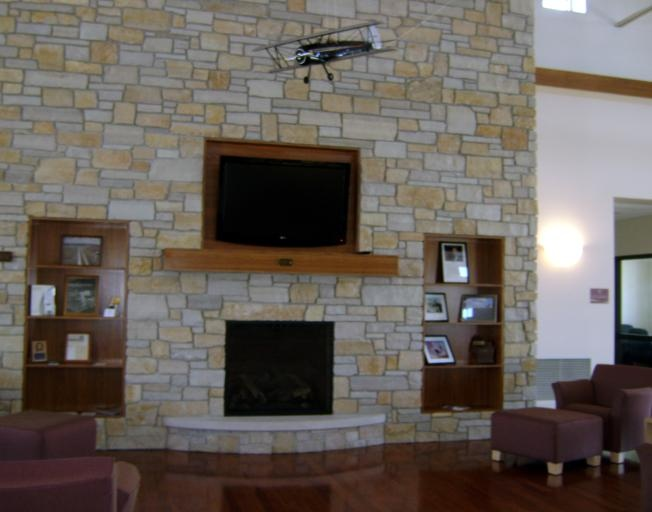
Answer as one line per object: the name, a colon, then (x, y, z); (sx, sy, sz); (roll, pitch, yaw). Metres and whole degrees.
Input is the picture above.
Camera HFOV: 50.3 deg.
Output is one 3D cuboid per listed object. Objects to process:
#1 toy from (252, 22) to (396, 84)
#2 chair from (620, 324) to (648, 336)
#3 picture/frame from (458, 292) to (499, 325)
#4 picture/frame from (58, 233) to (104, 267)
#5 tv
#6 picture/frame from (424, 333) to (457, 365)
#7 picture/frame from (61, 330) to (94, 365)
toy: (0.095, -1.857, 6.394); (0.881, 0.325, 0.914); (-9, 3, 1)
chair: (4.755, 1.127, 10.708); (0.214, 0.231, 0.188); (-3, 4, -37)
picture/frame: (1.724, 0.599, 7.764); (0.435, 0.321, 0.053); (0, -12, 9)
picture/frame: (-2.557, -0.057, 7.190); (0.401, 0.257, 0.050); (1, -8, -10)
tv: (-0.517, -0.565, 7.249); (1.122, 0.666, 0.109); (2, 6, -11)
picture/frame: (1.261, 1.036, 7.707); (0.425, 0.373, 0.029); (4, -34, -26)
picture/frame: (-2.552, 0.945, 7.119); (0.388, 0.432, 0.049); (0, -6, -13)
